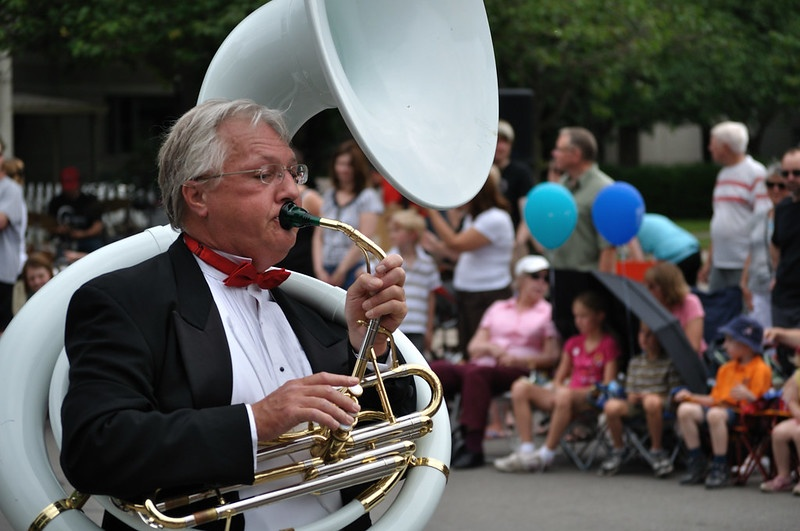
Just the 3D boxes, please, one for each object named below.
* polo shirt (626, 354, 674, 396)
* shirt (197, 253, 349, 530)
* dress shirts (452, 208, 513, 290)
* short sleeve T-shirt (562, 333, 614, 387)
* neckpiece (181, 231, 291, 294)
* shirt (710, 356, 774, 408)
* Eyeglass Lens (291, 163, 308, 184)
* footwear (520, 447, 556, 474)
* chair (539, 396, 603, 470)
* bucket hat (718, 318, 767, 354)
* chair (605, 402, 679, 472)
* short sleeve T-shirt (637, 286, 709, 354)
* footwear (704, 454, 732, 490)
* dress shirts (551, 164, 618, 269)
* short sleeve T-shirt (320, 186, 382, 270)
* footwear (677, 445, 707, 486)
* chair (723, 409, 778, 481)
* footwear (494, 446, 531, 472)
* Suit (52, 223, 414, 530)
[{"bbox_3d":[0.786,0.348,3.892,0.184,0.151,0.105,-5,-17,18],"label":"polo shirt"},{"bbox_3d":[-0.409,0.363,3.722,0.162,0.749,0.535,-3,4,1],"label":"shirt"},{"bbox_3d":[0.458,-0.098,6.465,0.275,0.431,0.360,1,2,15],"label":"dress shirts"},{"bbox_3d":[0.619,0.308,4.032,0.123,0.134,0.073,-22,-40,1],"label":"short sleeve T-shirt"},{"bbox_3d":[-0.516,-0.023,3.805,0.319,0.106,0.231,36,16,32],"label":"neckpiece"},{"bbox_3d":[1.062,0.364,3.863,0.106,0.197,0.194,22,-12,-39],"label":"shirt"},{"bbox_3d":[-0.300,-0.272,3.730,0.051,0.055,0.024,-8,16,-28],"label":"Eyeglass Lens"},{"bbox_3d":[0.449,0.627,4.001,0.057,0.049,0.131,20,-48,-26],"label":"footwear"},{"bbox_3d":[0.573,0.514,3.922,0.100,0.141,0.101,-24,0,35],"label":"chair"},{"bbox_3d":[1.063,0.207,3.860,0.107,0.059,0.105,25,-8,27],"label":"bucket hat"},{"bbox_3d":[0.766,0.526,3.908,0.225,0.255,0.215,-9,-12,37],"label":"chair"},{"bbox_3d":[0.898,0.176,3.939,0.066,0.198,0.138,-5,0,-36],"label":"short sleeve T-shirt"},{"bbox_3d":[0.976,0.633,3.806,0.056,0.076,0.112,-1,2,22],"label":"footwear"},{"bbox_3d":[0.694,-0.172,4.646,0.172,0.493,0.371,3,-3,-27],"label":"dress shirts"},{"bbox_3d":[-0.248,-0.184,6.318,0.384,0.498,0.203,-4,-14,28],"label":"short sleeve T-shirt"},{"bbox_3d":[0.911,0.618,3.822,0.131,0.137,0.055,-7,-5,17],"label":"footwear"},{"bbox_3d":[1.061,0.571,3.873,0.187,0.248,0.206,-3,-15,3],"label":"chair"},{"bbox_3d":[0.384,0.657,4.221,0.053,0.073,0.157,-6,1,-36],"label":"footwear"},{"bbox_3d":[-0.687,0.311,3.505,0.862,0.932,0.241,4,-24,-37],"label":"Suit"}]
